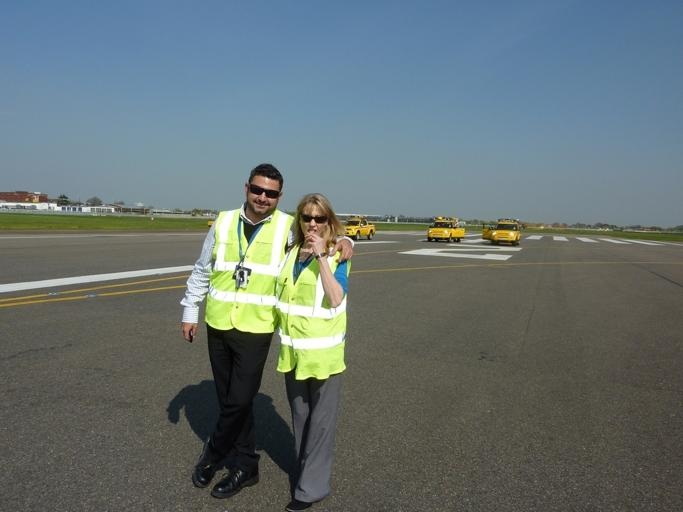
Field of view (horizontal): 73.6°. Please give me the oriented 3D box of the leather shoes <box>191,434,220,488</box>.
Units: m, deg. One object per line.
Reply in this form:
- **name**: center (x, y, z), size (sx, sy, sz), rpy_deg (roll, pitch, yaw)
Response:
- **leather shoes**: center (-1.082, 1.740, 3.730), size (0.146, 0.187, 0.456), rpy_deg (30, 27, -30)

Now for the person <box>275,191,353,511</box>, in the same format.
- **person**: center (-0.227, 0.735, 3.512), size (0.562, 2.387, 0.497), rpy_deg (2, 9, 3)

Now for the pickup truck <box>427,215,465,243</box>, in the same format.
- **pickup truck**: center (8.275, -2.022, 36.305), size (2.357, 2.158, 4.494), rpy_deg (-1, -1, 20)

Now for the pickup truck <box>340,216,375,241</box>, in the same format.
- **pickup truck**: center (1.118, -2.349, 36.533), size (1.730, 1.717, 3.367), rpy_deg (8, 16, 26)

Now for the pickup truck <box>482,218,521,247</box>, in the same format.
- **pickup truck**: center (11.700, -1.586, 32.958), size (2.005, 1.659, 1.999), rpy_deg (6, 11, 26)

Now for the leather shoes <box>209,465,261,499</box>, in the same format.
- **leather shoes**: center (-0.856, 1.861, 3.733), size (0.134, 0.178, 0.376), rpy_deg (-1, -9, 44)

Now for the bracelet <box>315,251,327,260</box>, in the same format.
- **bracelet**: center (-0.151, -0.003, 3.303), size (0.042, 0.052, 0.046), rpy_deg (-9, -6, 41)
